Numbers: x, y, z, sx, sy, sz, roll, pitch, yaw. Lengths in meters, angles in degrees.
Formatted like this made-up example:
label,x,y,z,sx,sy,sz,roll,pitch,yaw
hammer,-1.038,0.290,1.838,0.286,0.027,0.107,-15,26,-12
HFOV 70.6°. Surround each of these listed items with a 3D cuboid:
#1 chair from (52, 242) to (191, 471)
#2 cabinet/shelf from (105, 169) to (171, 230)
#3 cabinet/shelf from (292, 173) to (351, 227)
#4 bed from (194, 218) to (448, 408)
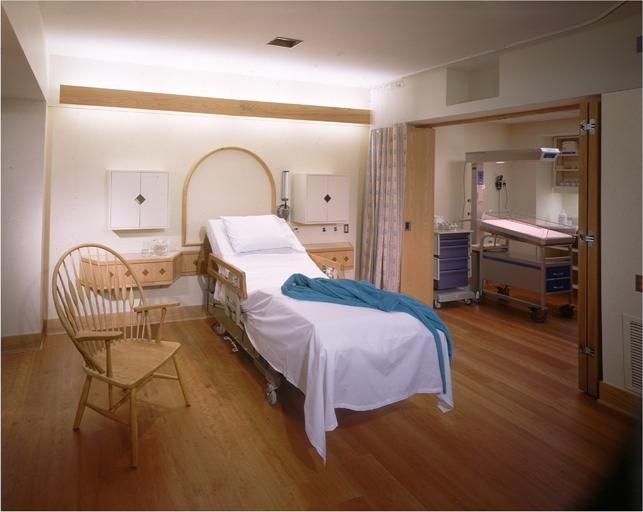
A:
label,x,y,z,sx,sy,sz,roll,pitch,yaw
chair,-1.378,0.654,3.262,0.802,1.305,0.846,19,21,40
cabinet/shelf,-2.074,-0.632,5.078,0.634,0.747,0.237,-2,5,-29
cabinet/shelf,0.073,-0.701,6.058,0.630,0.573,0.336,2,-1,2
bed,-0.208,0.391,4.080,1.280,1.310,2.334,-3,8,-30
